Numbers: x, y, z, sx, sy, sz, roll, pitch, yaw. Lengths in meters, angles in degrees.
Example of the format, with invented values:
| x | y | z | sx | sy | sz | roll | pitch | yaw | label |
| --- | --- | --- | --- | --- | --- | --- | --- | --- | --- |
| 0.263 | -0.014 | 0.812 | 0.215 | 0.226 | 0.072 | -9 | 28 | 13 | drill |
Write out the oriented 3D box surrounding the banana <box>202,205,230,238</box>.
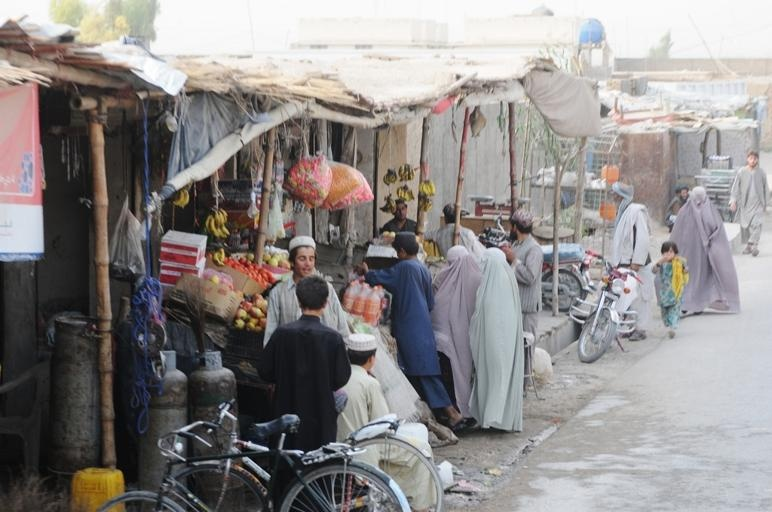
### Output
| x | y | z | sx | sy | sz | roll | pitch | yaw | label |
| --- | --- | --- | --- | --- | --- | --- | --- | --- | --- |
| -1.633 | -0.337 | 10.094 | 0.102 | 0.220 | 0.291 | -27 | 23 | 14 | banana |

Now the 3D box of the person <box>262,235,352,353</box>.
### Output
| x | y | z | sx | sy | sz | roll | pitch | yaw | label |
| --- | --- | --- | --- | --- | --- | --- | --- | --- | --- |
| -0.737 | 0.380 | 9.543 | 1.059 | 1.623 | 0.512 | 0 | -3 | -14 | person |

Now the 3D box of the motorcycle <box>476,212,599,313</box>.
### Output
| x | y | z | sx | sy | sz | roll | pitch | yaw | label |
| --- | --- | --- | --- | --- | --- | --- | --- | --- | --- |
| 1.999 | 0.206 | 14.588 | 1.879 | 1.413 | 1.011 | 4 | 16 | 9 | motorcycle |

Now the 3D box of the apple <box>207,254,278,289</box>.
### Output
| x | y | z | sx | sy | sz | roll | pitch | yaw | label |
| --- | --- | --- | --- | --- | --- | --- | --- | --- | --- |
| -1.319 | 0.143 | 10.058 | 0.404 | 0.146 | 0.403 | 23 | 0 | 5 | apple |

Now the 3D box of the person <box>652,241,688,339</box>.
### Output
| x | y | z | sx | sy | sz | roll | pitch | yaw | label |
| --- | --- | --- | --- | --- | --- | --- | --- | --- | --- |
| 3.977 | 0.463 | 14.495 | 0.435 | 1.361 | 0.578 | 0 | 2 | 16 | person |

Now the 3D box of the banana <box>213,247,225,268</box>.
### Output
| x | y | z | sx | sy | sz | roll | pitch | yaw | label |
| --- | --- | --- | --- | --- | --- | --- | --- | --- | --- |
| -1.596 | 0.014 | 9.975 | 0.097 | 0.156 | 0.096 | 1 | -34 | -9 | banana |

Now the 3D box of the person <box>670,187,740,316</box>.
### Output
| x | y | z | sx | sy | sz | roll | pitch | yaw | label |
| --- | --- | --- | --- | --- | --- | --- | --- | --- | --- |
| 4.793 | -0.063 | 15.537 | 0.946 | 1.946 | 0.391 | 0 | 2 | 15 | person |
